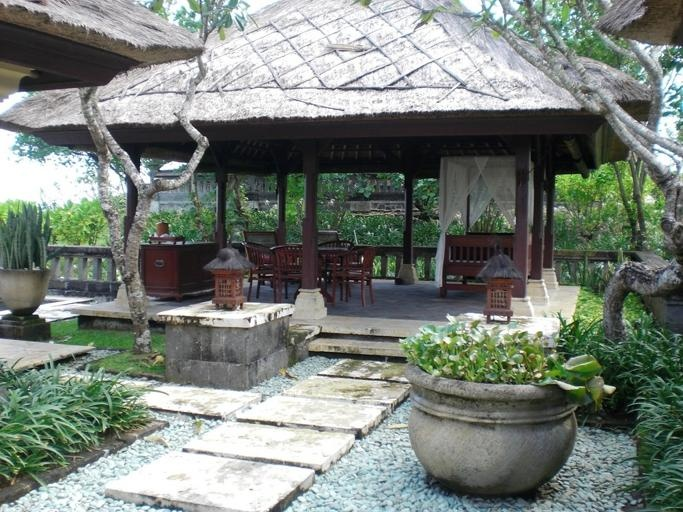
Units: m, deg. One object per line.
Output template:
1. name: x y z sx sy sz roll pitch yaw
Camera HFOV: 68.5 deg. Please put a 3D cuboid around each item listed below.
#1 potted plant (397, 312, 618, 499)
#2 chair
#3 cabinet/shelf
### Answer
1. potted plant: 0.945 0.901 3.223 1.176 0.726 1.182 3 -4 -29
2. chair: -0.375 0.155 8.538 1.531 0.715 1.489 2 4 18
3. cabinet/shelf: -2.639 0.258 8.950 0.794 0.947 1.627 1 1 26
